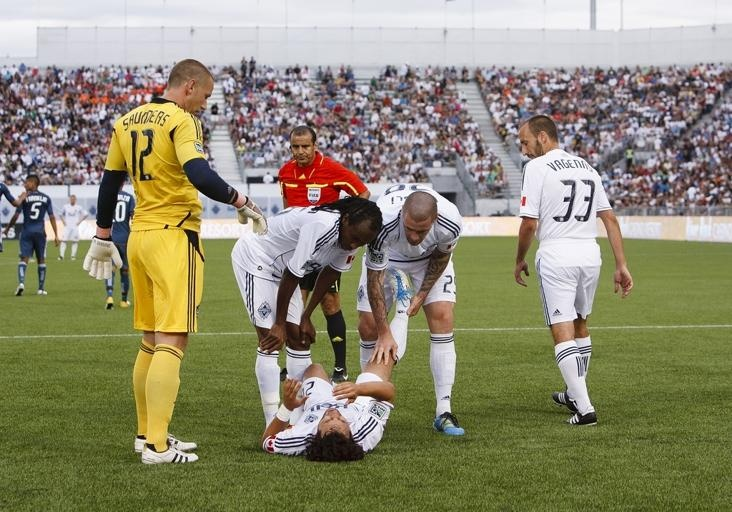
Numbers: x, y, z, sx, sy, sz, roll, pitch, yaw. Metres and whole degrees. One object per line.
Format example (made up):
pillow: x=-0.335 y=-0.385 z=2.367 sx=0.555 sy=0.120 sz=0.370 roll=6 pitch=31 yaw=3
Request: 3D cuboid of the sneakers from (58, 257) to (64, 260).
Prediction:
sneakers: x=-9.825 y=0.031 z=42.652 sx=0.120 sy=0.159 sz=0.339 roll=0 pitch=0 yaw=-13

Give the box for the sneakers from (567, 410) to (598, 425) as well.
sneakers: x=4.340 y=3.228 z=26.583 sx=0.576 sy=0.285 sz=0.243 roll=0 pitch=0 yaw=26

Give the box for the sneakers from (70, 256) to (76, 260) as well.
sneakers: x=-9.527 y=0.020 z=43.128 sx=0.089 sy=0.113 sz=0.249 roll=-2 pitch=0 yaw=-21

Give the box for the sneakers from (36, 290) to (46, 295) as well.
sneakers: x=-8.386 y=0.908 z=34.298 sx=0.301 sy=0.145 sz=0.117 roll=1 pitch=6 yaw=0
